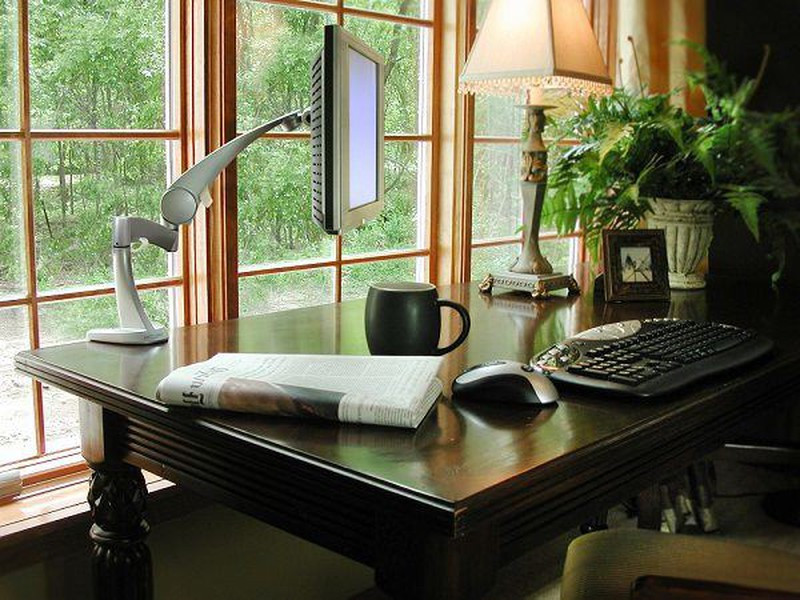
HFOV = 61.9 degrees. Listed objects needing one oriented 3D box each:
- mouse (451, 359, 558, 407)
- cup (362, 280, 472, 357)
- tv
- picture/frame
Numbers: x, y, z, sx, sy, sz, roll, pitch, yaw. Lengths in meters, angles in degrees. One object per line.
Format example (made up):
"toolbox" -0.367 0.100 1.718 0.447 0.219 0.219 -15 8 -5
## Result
"mouse" 0.145 0.118 0.920 0.112 0.038 0.068 5 4 21
"cup" 0.023 0.031 1.108 0.166 0.107 0.102 4 5 -5
"tv" -0.214 -0.215 1.354 0.612 0.534 0.528 2 9 2
"picture/frame" 0.551 -0.080 1.568 0.193 0.193 0.021 -1 1 -21
